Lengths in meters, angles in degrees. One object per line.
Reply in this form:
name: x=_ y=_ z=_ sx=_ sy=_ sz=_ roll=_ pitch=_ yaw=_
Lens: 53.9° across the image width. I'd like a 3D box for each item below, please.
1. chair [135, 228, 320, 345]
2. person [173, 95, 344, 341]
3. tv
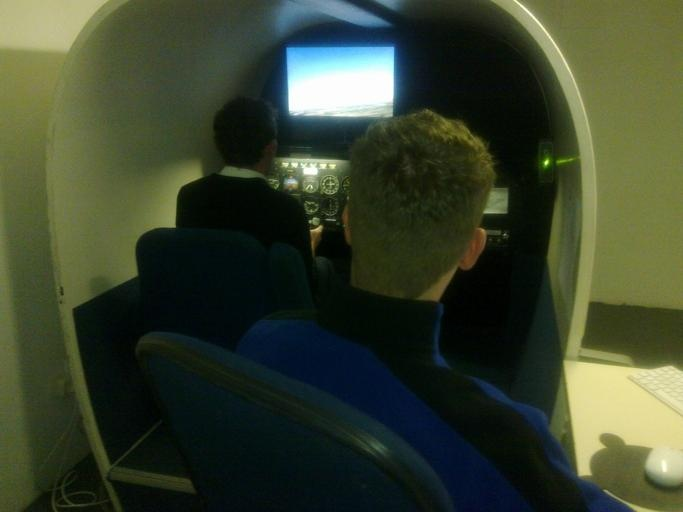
chair: x=-0.437 y=0.041 z=2.788 sx=0.446 sy=0.669 sz=0.536 roll=2 pitch=19 yaw=7
person: x=-0.424 y=-0.256 z=3.129 sx=0.673 sy=0.964 sz=0.676 roll=7 pitch=8 yaw=1
tv: x=0.016 y=-0.930 z=3.495 sx=0.668 sy=0.456 sz=0.010 roll=4 pitch=20 yaw=13
